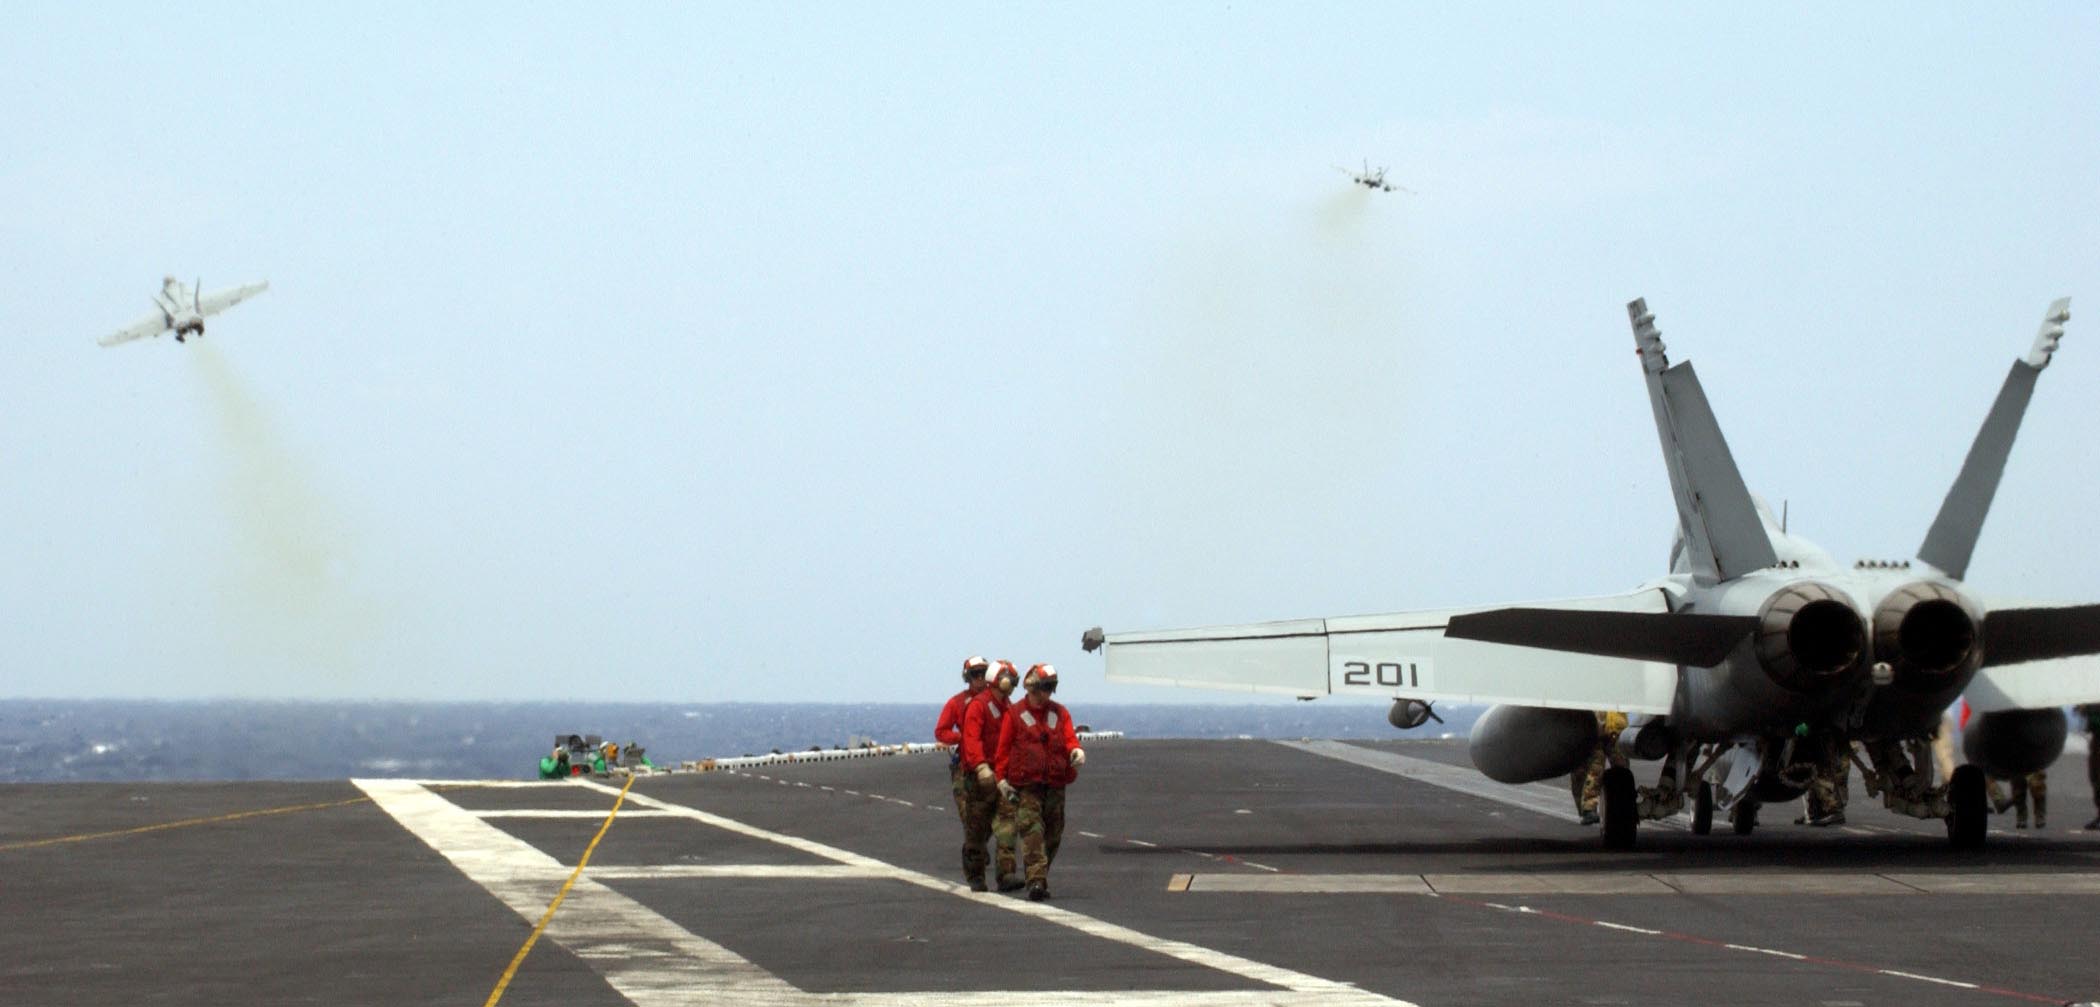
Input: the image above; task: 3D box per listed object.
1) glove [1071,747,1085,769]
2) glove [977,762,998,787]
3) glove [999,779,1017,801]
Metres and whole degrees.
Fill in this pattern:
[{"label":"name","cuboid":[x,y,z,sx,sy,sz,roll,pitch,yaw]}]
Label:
[{"label":"glove","cuboid":[0.504,4.061,33.520,0.327,0.138,0.396,-1,-24,1]},{"label":"glove","cuboid":[-0.979,4.381,33.537,0.300,0.329,0.354,1,1,-2]},{"label":"glove","cuboid":[-0.647,4.603,33.299,0.252,0.350,0.118,-45,-5,-34]}]
